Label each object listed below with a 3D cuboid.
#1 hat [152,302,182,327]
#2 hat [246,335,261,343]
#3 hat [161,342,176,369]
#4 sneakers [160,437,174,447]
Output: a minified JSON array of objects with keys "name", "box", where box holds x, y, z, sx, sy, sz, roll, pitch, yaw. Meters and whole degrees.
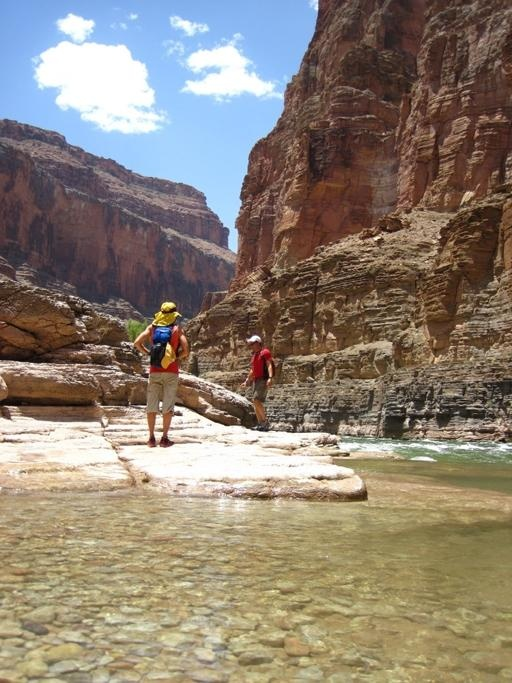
[{"name":"hat","box":[-0.914,-0.265,5.580,0.277,0.125,0.326,3,30,6]},{"name":"hat","box":[0.000,-0.050,8.582,0.196,0.068,0.125,5,-7,-37]},{"name":"hat","box":[-0.844,0.136,5.292,0.066,0.271,0.145,2,-6,39]},{"name":"sneakers","box":[-0.803,0.926,5.044,0.054,0.090,0.154,4,8,18]}]
